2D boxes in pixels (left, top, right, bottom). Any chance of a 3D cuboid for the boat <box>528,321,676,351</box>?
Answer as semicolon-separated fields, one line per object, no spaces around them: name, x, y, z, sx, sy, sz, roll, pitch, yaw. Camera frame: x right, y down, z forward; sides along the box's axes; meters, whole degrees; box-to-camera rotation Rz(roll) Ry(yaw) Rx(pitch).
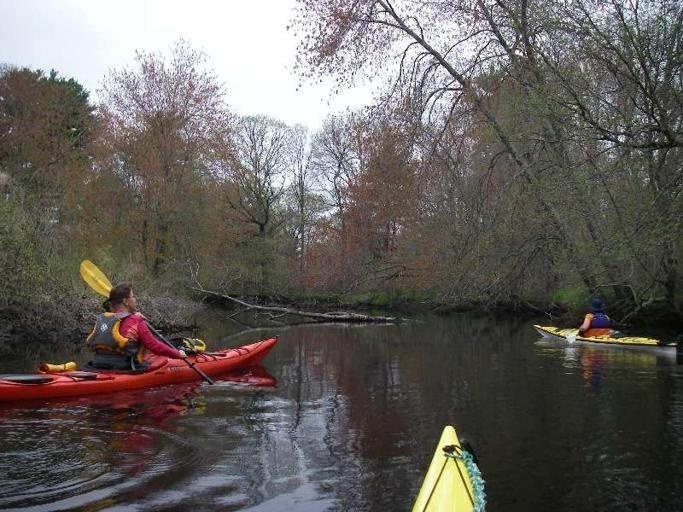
boat;6.997;2.381;18.336;0.984;0.766;4.949;3;-1;-40

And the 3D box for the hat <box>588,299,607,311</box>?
hat;7.155;1.404;18.063;0.382;0.397;0.872;0;0;24

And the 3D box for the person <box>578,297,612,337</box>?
person;7.237;1.866;18.505;0.759;1.253;1.145;-2;-3;10
